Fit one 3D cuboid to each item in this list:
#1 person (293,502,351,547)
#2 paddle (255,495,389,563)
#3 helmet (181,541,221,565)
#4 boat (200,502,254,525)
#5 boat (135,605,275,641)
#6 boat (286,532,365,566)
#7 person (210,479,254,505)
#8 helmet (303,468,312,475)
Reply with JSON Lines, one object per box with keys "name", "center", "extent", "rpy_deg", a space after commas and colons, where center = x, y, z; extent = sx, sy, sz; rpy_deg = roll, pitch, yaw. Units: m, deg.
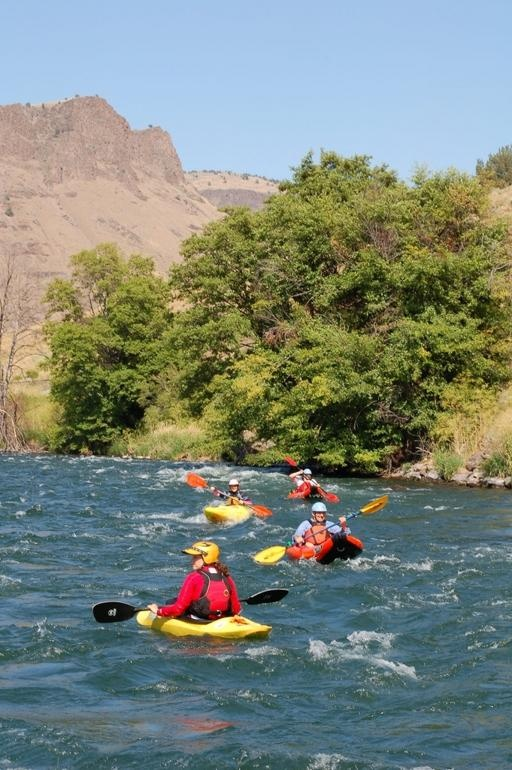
{"name": "person", "center": [1.050, 2.480, 20.421], "extent": [0.664, 0.488, 0.878], "rpy_deg": [2, -5, -5]}
{"name": "paddle", "center": [1.268, 2.773, 22.203], "extent": [1.832, 0.120, 0.244], "rpy_deg": [-25, 48, -20]}
{"name": "helmet", "center": [-0.747, 2.242, 15.663], "extent": [0.468, 0.220, 0.293], "rpy_deg": [2, -12, -4]}
{"name": "boat", "center": [-0.572, 2.737, 24.663], "extent": [0.832, 0.341, 1.083], "rpy_deg": [1, -3, 34]}
{"name": "boat", "center": [-0.746, 3.217, 15.525], "extent": [1.767, 0.281, 0.570], "rpy_deg": [-1, -6, 27]}
{"name": "boat", "center": [1.242, 2.854, 19.997], "extent": [0.639, 0.292, 1.038], "rpy_deg": [5, -16, -30]}
{"name": "person", "center": [-0.568, 2.425, 26.056], "extent": [0.573, 0.416, 1.059], "rpy_deg": [-2, -12, 12]}
{"name": "helmet", "center": [1.185, 2.076, 27.491], "extent": [0.182, 0.122, 0.242], "rpy_deg": [10, 9, -14]}
